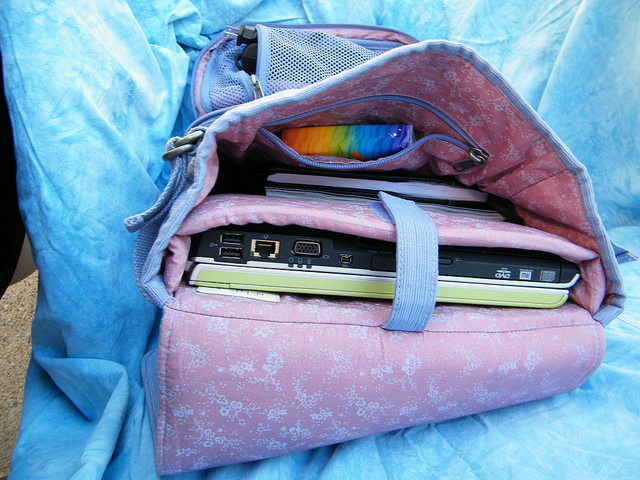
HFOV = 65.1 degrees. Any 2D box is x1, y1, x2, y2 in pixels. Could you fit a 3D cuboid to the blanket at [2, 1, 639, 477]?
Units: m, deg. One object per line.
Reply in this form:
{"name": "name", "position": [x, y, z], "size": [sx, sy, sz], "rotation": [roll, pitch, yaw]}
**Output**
{"name": "blanket", "position": [-0.100, 0.085, 1.356], "size": [1.379, 0.437, 1.126], "rotation": [1, 49, -14]}
